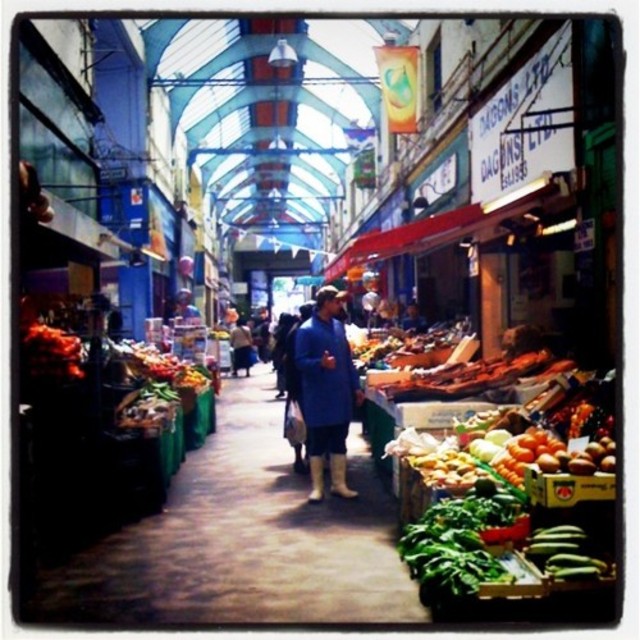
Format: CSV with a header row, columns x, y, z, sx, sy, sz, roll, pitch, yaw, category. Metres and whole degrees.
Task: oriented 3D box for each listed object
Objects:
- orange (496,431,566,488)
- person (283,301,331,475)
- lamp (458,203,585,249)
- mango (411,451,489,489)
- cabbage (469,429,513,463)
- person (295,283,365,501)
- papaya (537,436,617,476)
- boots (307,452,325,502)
x,y,z,sx,sy,sz,roll,pitch,yaw,category
1.322,0.888,4.304,0.330,0.108,0.306,-48,7,3,orange
-0.175,0.709,6.883,0.456,1.621,0.515,2,4,-7,person
2.237,-1.001,7.592,0.734,0.301,1.808,-1,-3,-15,lamp
0.837,0.963,4.518,0.358,0.185,0.395,1,1,-2,mango
1.176,0.861,4.750,0.190,0.084,0.201,-32,8,7,cabbage
0.049,0.617,6.068,0.516,1.905,0.563,0,5,-28,person
1.405,0.726,3.668,0.453,0.158,0.284,-1,-3,-10,papaya
-0.030,1.362,5.967,0.131,0.367,0.272,-1,-3,-1,boots
